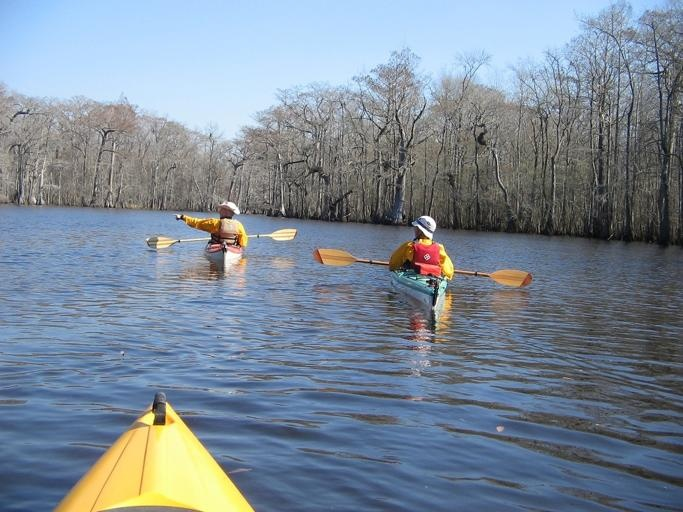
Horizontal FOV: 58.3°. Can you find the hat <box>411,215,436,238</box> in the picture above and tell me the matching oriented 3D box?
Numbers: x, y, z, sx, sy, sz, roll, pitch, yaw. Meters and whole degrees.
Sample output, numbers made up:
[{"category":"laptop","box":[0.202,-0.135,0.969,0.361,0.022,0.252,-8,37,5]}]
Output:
[{"category":"hat","box":[1.590,-0.573,11.808,0.485,0.319,0.624,27,5,-10]}]
